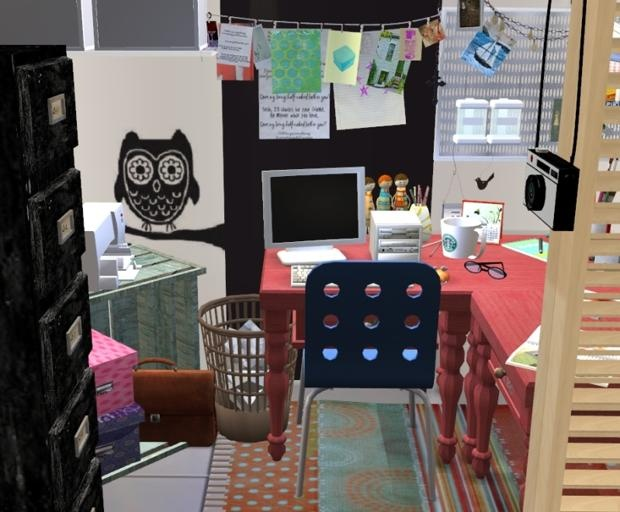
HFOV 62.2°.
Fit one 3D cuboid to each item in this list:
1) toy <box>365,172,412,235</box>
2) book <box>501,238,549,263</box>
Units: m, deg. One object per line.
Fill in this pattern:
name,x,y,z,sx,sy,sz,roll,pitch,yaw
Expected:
toy,0.401,-0.270,2.639,0.300,0.333,0.090,-4,11,-19
book,1.102,-0.049,2.635,0.216,0.056,0.354,6,16,20
